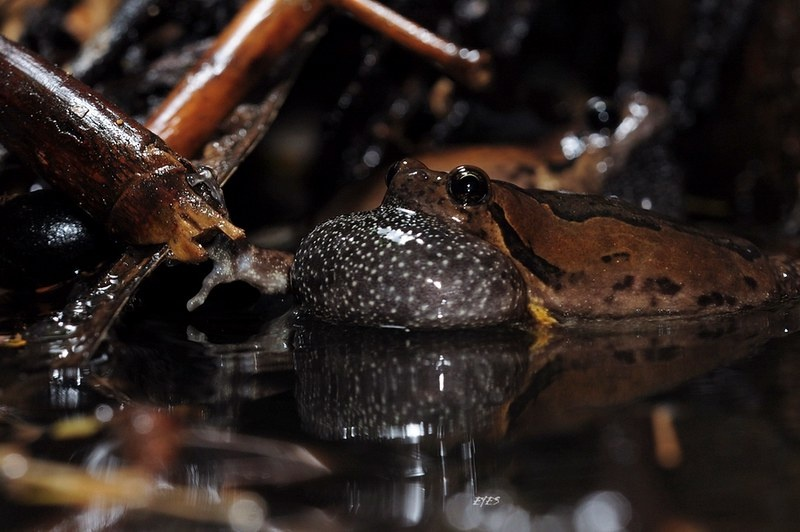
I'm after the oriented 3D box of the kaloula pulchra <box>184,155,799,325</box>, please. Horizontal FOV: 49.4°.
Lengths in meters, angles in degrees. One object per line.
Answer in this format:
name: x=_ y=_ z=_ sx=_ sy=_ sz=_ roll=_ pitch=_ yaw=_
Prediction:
kaloula pulchra: x=0.236 y=-0.011 z=1.711 sx=0.714 sy=0.503 sz=0.195 roll=-4 pitch=87 yaw=-20
